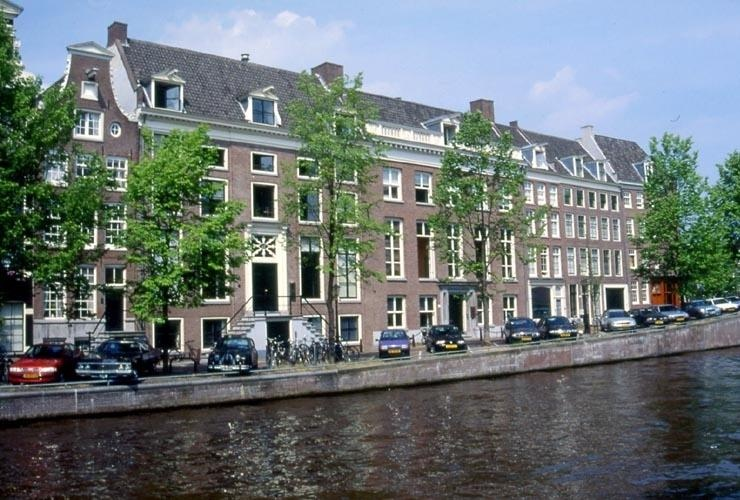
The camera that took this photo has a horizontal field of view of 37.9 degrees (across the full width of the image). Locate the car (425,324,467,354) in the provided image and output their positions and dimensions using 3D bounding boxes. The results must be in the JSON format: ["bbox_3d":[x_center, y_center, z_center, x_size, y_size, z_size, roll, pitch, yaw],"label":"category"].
[{"bbox_3d":[4.482,5.192,64.225,2.560,1.697,2.046,-6,-8,17],"label":"car"}]

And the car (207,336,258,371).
[{"bbox_3d":[-7.250,5.419,56.786,2.055,2.082,2.798,-4,-8,6],"label":"car"}]

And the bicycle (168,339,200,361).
[{"bbox_3d":[-10.808,5.925,63.374,2.469,1.498,1.230,-2,-2,2],"label":"bicycle"}]

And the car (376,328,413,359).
[{"bbox_3d":[1.391,5.376,62.664,1.779,1.790,3.045,-3,-8,0],"label":"car"}]
